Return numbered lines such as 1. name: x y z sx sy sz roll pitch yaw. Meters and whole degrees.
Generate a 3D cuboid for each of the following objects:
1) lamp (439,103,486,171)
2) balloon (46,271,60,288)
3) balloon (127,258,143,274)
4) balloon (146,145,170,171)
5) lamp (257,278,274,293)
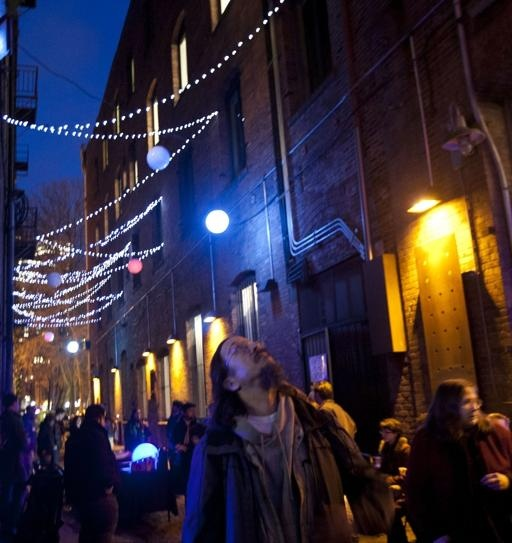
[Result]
1. lamp: 2.117 -1.502 5.620 0.304 0.609 0.368 -8 -18 7
2. balloon: -5.939 0.235 15.980 0.385 0.611 0.425 1 -2 30
3. balloon: -4.641 -0.169 20.635 0.504 0.831 0.609 4 5 0
4. balloon: -2.846 -3.380 15.874 0.532 0.732 0.712 5 0 -27
5. lamp: 0.233 0.233 10.778 0.233 0.116 0.256 3 -37 -42
